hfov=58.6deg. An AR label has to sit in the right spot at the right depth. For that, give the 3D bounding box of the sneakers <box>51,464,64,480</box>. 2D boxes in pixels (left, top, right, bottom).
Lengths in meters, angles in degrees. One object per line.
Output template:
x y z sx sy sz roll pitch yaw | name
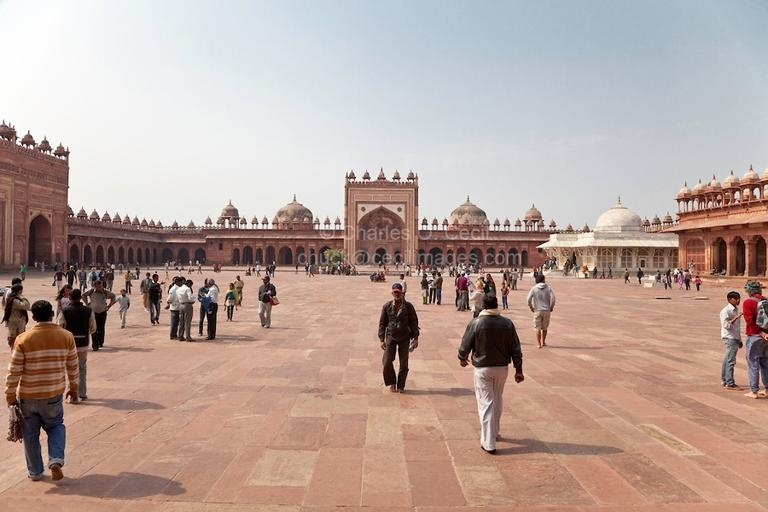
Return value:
-3.319 2.189 6.942 0.122 0.172 0.095 -8 14 -34 | sneakers

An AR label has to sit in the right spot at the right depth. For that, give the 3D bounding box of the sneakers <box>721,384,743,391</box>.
4.595 1.744 9.066 0.206 0.078 0.077 -1 -2 9 | sneakers

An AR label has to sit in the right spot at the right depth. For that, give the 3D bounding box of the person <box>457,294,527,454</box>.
1.179 1.269 7.627 0.705 1.605 0.837 2 12 8 | person

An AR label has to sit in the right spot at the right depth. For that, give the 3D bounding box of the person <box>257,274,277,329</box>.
-2.336 0.877 13.732 0.355 1.200 1.241 -2 12 -10 | person

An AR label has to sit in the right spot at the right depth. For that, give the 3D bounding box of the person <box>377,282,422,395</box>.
0.184 1.041 9.115 0.509 1.385 0.769 1 12 1 | person

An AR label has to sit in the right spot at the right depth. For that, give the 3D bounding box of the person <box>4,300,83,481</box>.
-3.555 1.377 7.096 0.606 1.735 0.778 -1 12 -8 | person

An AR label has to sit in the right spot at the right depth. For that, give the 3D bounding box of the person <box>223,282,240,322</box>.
-3.314 0.975 14.819 0.254 0.935 1.153 -2 12 -11 | person
